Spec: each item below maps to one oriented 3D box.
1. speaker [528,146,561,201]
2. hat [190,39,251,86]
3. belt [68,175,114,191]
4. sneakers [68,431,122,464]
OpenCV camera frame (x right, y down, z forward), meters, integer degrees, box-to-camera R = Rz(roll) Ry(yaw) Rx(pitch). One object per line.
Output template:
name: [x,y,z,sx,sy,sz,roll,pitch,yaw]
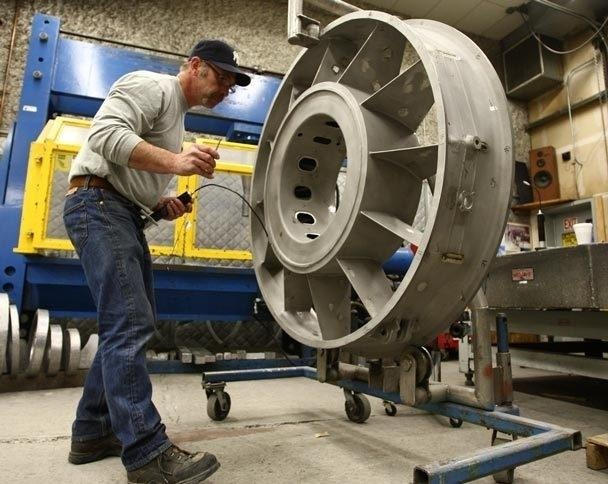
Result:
speaker: [4.259,-1.189,8.646,0.329,1.010,0.578,3,-4,-41]
hat: [-0.451,-0.986,2.609,0.302,0.184,0.215,17,3,6]
belt: [-1.037,-0.283,2.367,0.102,0.033,0.112,-6,-13,28]
sneakers: [-1.055,1.035,2.507,0.097,0.157,0.303,-15,-13,24]
